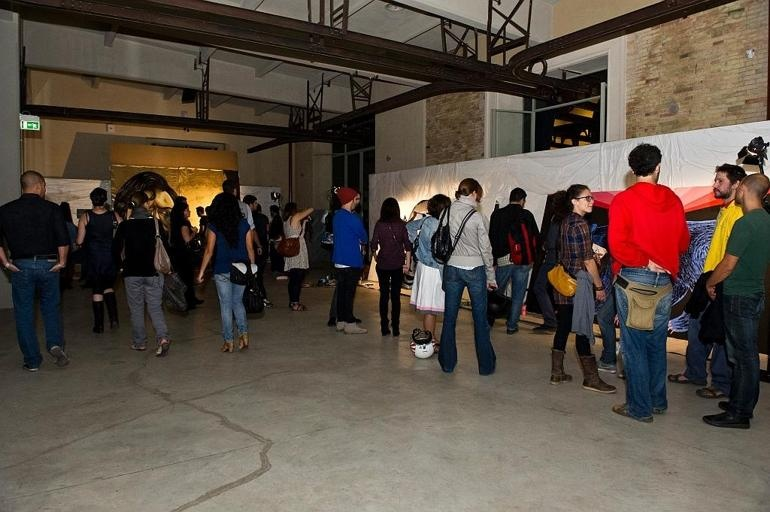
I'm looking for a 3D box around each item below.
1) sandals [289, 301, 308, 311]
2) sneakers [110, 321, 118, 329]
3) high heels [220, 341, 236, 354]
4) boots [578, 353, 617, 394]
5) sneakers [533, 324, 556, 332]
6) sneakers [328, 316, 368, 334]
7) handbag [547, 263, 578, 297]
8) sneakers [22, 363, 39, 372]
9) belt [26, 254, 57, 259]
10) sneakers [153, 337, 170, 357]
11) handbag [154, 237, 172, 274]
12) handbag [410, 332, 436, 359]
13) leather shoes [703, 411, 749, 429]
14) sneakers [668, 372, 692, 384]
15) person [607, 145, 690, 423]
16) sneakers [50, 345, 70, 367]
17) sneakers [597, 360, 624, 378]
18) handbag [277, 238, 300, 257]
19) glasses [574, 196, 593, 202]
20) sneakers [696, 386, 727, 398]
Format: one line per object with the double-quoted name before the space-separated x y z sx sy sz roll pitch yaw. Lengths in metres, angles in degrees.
"sandals" -1.612 0.921 9.293 0.258 0.103 0.142 -1 -1 16
"sneakers" -4.277 1.077 7.973 0.161 0.148 0.093 10 -12 -33
"high heels" -2.137 1.195 6.859 0.162 0.183 0.244 -4 13 -15
"boots" 2.338 1.285 5.542 0.404 0.379 0.190 4 3 39
"sneakers" 2.447 1.120 7.789 0.322 0.132 0.127 2 -1 2
"sneakers" -0.608 1.066 7.778 0.710 0.288 0.233 -1 7 -5
"handbag" 1.957 0.194 5.598 0.156 0.288 0.359 37 -19 22
"sneakers" -4.279 1.342 6.093 0.206 0.086 0.075 7 4 27
"belt" -4.035 0.010 5.927 0.296 0.068 0.039 -7 14 -28
"sneakers" -2.905 1.206 6.562 0.140 0.340 0.153 10 36 -35
"handbag" -2.922 0.003 6.643 0.175 0.529 0.360 -3 13 -13
"handbag" 0.482 1.135 6.449 0.269 0.328 0.344 -1 -1 -8
"leather shoes" 3.253 1.557 4.867 0.391 0.138 0.154 3 -3 15
"sneakers" 3.386 1.399 5.803 0.224 0.057 0.098 7 14 41
"person" 2.481 0.262 4.871 0.682 2.610 0.542 7 15 30
"sneakers" -3.963 1.196 6.178 0.148 0.362 0.141 -14 51 -23
"sneakers" 2.745 1.348 6.072 0.140 0.133 0.349 0 4 -20
"handbag" -1.686 -0.161 8.856 0.371 0.348 0.152 3 -4 22
"glasses" 2.157 -0.631 5.455 0.198 0.060 0.070 -5 13 -21
"sneakers" 3.503 1.451 5.420 0.253 0.057 0.108 2 3 8
